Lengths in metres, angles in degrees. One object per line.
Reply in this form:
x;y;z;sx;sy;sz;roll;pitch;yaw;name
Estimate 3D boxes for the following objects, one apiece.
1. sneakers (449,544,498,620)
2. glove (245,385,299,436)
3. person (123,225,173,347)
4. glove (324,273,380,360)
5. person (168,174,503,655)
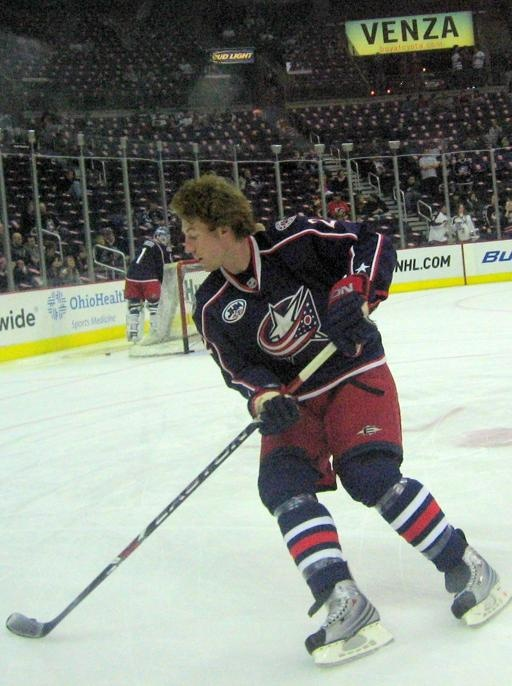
0.526;0.582;1.601;0.135;0.180;0.097;-8;8;3;sneakers
0.047;0.171;1.691;0.121;0.109;0.050;-30;-36;14;glove
-1.383;-0.742;8.505;0.760;1.468;1.322;-10;8;-7;person
0.247;-0.066;1.761;0.137;0.221;0.204;-8;8;9;glove
0.198;0.125;1.753;0.565;1.204;0.653;-12;8;-14;person
